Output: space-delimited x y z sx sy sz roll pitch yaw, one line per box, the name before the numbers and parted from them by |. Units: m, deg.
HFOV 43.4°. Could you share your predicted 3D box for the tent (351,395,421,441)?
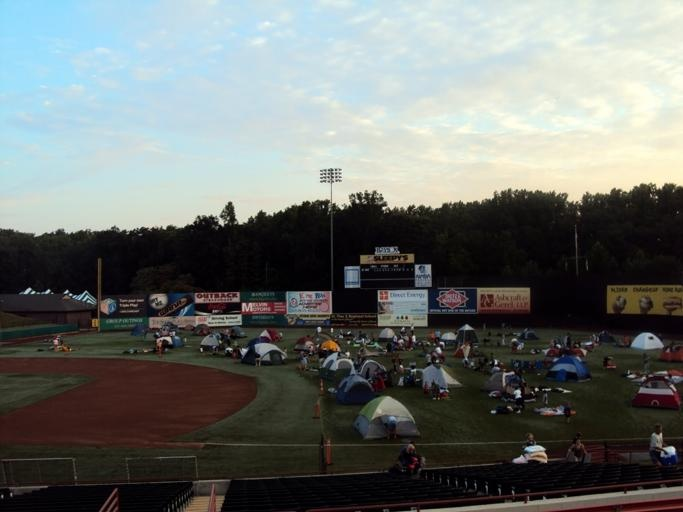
tent | 2.457 9.270 50.087 4.211 1.686 4.708 6 4 26
